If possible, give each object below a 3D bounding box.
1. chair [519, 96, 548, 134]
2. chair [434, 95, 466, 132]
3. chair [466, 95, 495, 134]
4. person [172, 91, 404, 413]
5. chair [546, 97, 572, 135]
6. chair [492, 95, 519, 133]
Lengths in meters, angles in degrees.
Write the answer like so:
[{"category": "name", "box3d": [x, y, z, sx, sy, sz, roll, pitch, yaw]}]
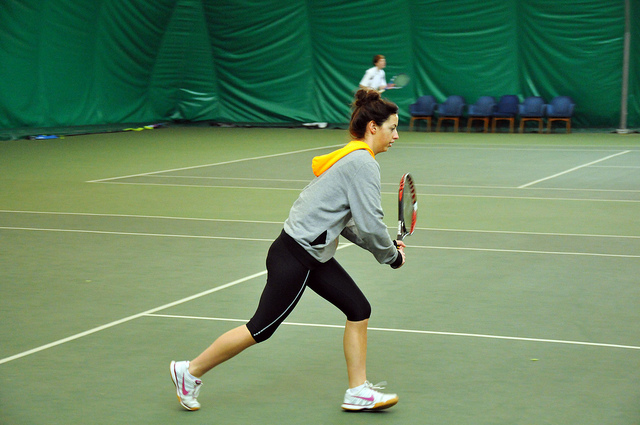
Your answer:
[{"category": "chair", "box3d": [8.503, -3.858, 22.257, 1.006, 1.392, 0.844, 8, 17, 29]}, {"category": "chair", "box3d": [5.442, -4.111, 23.303, 1.078, 1.468, 0.741, 2, 15, 11]}, {"category": "chair", "box3d": [6.585, -4.038, 22.766, 1.195, 1.256, 0.988, -13, 21, -22]}, {"category": "person", "box3d": [-0.085, 0.218, 3.243, 1.126, 1.802, 0.668, 1, 15, 6]}, {"category": "chair", "box3d": [9.518, -3.843, 22.196, 0.867, 1.401, 1.176, 5, 15, 19]}, {"category": "chair", "box3d": [7.453, -3.956, 22.507, 0.938, 1.495, 0.892, 4, 15, 15]}]
